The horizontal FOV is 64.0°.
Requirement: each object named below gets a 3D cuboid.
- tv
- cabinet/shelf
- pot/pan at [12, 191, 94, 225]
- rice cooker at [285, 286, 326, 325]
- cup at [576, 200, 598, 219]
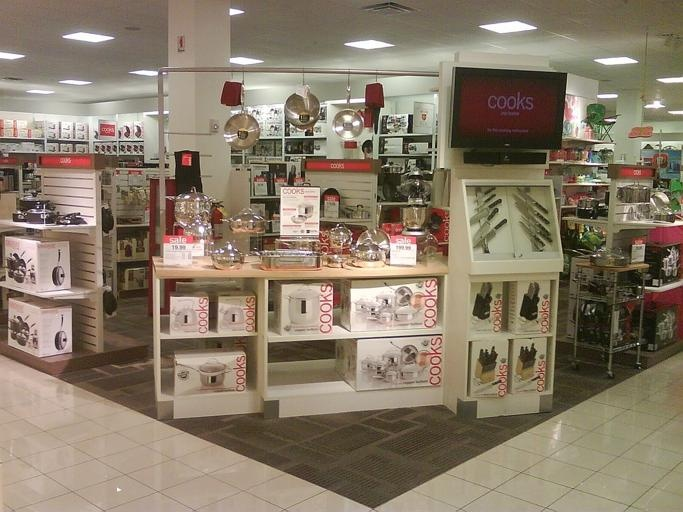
[{"bbox_3d":[1.331,-1.232,4.505,1.077,0.477,0.092,1,10,-10],"label":"tv"},{"bbox_3d":[0.131,0.260,4.991,3.366,1.949,1.538,1,11,-3],"label":"cabinet/shelf"},{"bbox_3d":[-3.013,-0.486,5.499,0.788,0.217,0.439,5,6,39],"label":"pot/pan"},{"bbox_3d":[-0.286,0.374,4.538,0.486,0.311,0.310,-1,8,-4],"label":"rice cooker"},{"bbox_3d":[2.923,-0.554,6.472,0.185,0.216,0.286,3,-4,-29],"label":"cup"}]
